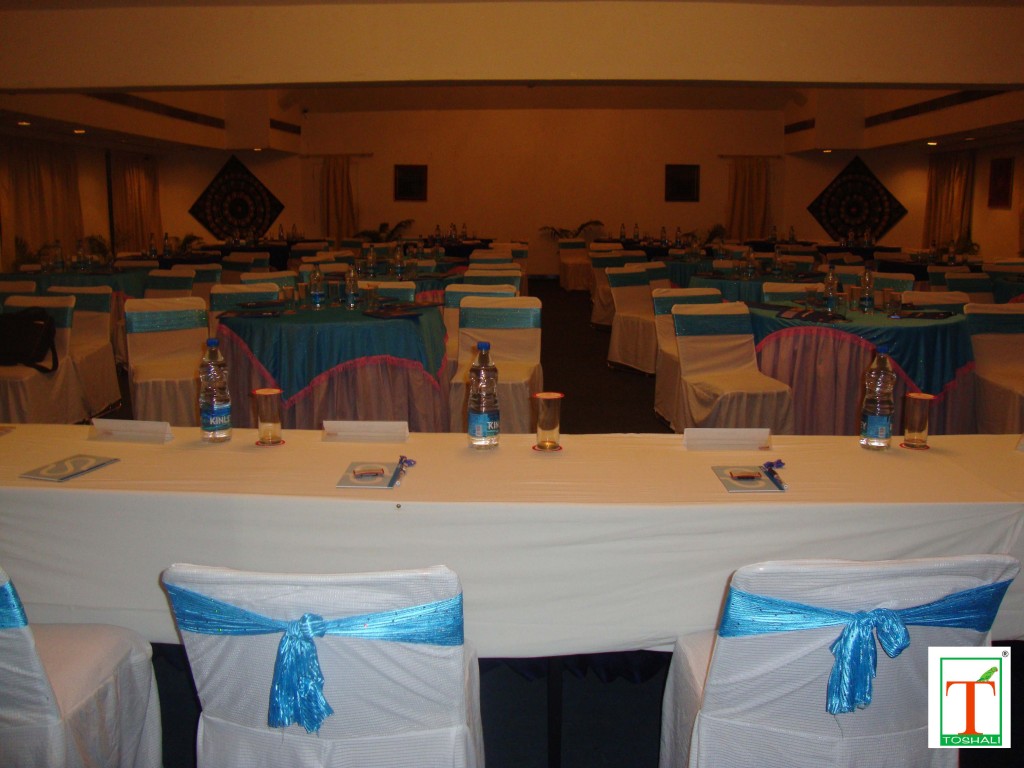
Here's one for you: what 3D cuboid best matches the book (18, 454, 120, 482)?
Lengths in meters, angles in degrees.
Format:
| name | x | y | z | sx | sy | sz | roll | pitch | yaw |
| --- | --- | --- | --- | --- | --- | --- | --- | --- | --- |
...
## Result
| name | x | y | z | sx | sy | sz | roll | pitch | yaw |
| --- | --- | --- | --- | --- | --- | --- | --- | --- | --- |
| book | -1.300 | 0.253 | 2.378 | 0.111 | 0.024 | 0.208 | -4 | 10 | 9 |

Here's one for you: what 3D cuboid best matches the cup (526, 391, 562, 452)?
| name | x | y | z | sx | sy | sz | roll | pitch | yaw |
| --- | --- | --- | --- | --- | --- | --- | --- | --- | --- |
| cup | 0.118 | 0.119 | 2.634 | 0.141 | 0.226 | 0.154 | 2 | 9 | 0 |

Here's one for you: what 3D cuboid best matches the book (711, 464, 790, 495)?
| name | x | y | z | sx | sy | sz | roll | pitch | yaw |
| --- | --- | --- | --- | --- | --- | --- | --- | --- | --- |
| book | 0.686 | 0.280 | 2.310 | 0.164 | 0.008 | 0.127 | -2 | 20 | -16 |
